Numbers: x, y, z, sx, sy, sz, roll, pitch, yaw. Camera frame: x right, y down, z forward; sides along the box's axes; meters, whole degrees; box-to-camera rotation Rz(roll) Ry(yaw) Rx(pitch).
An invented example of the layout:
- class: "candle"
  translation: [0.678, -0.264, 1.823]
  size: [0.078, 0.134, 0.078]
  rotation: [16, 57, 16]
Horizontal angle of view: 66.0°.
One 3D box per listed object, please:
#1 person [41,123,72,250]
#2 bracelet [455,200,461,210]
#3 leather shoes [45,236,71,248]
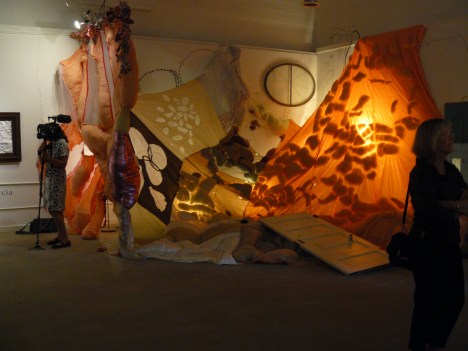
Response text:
- class: "person"
  translation: [-2.315, 0.119, 4.704]
  size: [0.355, 1.580, 0.516]
  rotation: [-4, 10, -27]
- class: "bracelet"
  translation: [1.376, 0.180, 2.207]
  size: [0.021, 0.052, 0.011]
  rotation: [5, 10, 31]
- class: "leather shoes"
  translation: [-2.291, 0.868, 4.667]
  size: [0.245, 0.087, 0.137]
  rotation: [5, 7, 8]
